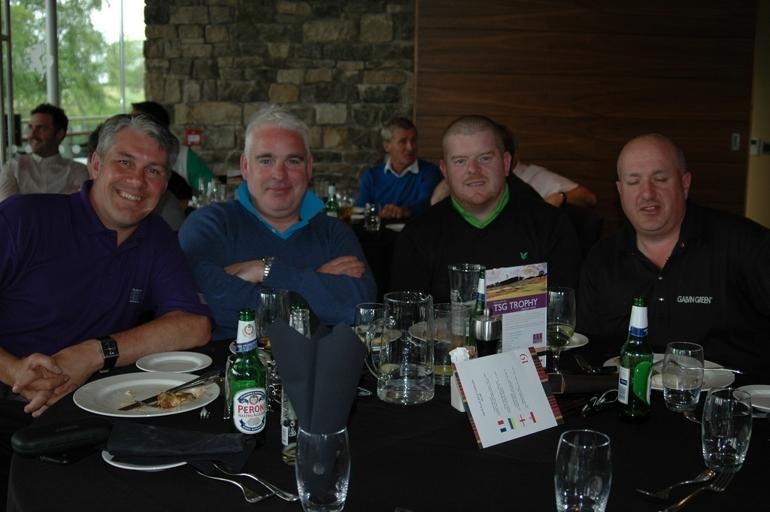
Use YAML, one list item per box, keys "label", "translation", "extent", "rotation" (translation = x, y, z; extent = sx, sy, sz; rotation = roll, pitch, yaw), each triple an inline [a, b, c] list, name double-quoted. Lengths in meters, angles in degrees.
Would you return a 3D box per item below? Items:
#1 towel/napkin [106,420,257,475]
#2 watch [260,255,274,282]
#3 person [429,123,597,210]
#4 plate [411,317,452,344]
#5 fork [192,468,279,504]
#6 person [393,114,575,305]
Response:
- label: "towel/napkin"
  translation: [-0.575, 0.529, 1.807]
  extent: [0.293, 0.038, 0.158]
  rotation: [7, 18, -4]
- label: "watch"
  translation: [-0.524, 0.046, 2.885]
  extent: [0.068, 0.101, 0.091]
  rotation: [8, -27, -9]
- label: "person"
  translation: [0.948, -0.669, 4.613]
  extent: [0.326, 0.509, 1.068]
  rotation: [-14, -2, 30]
- label: "plate"
  translation: [0.151, 0.239, 2.126]
  extent: [0.101, 0.101, 0.097]
  rotation: [0, 1, -33]
- label: "fork"
  translation: [-0.394, 0.610, 1.731]
  extent: [0.244, 0.018, 0.075]
  rotation: [13, 12, 31]
- label: "person"
  translation: [0.503, -0.251, 3.310]
  extent: [0.968, 0.934, 0.342]
  rotation: [-2, 9, -2]
